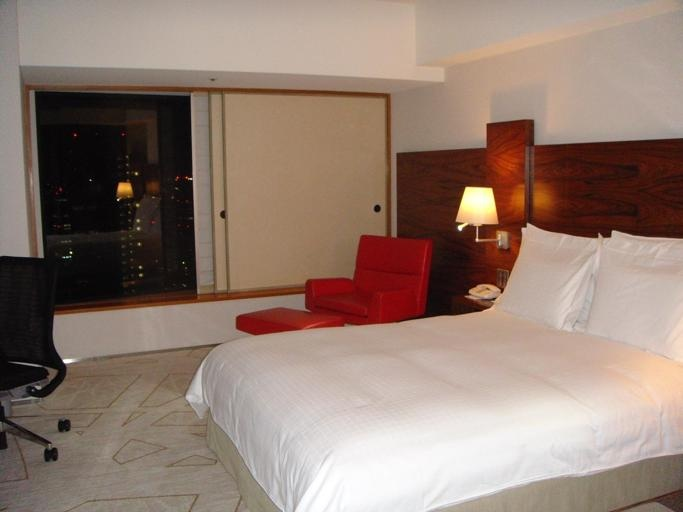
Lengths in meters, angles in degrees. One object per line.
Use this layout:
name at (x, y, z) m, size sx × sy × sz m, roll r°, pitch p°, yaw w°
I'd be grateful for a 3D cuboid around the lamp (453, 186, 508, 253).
lamp at (1.198, -0.363, 4.970) m, size 0.552 × 0.676 × 0.477 m, roll 1°, pitch 0°, yaw -26°

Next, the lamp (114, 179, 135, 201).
lamp at (-2.519, -0.764, 5.984) m, size 0.199 × 0.229 × 0.204 m, roll -2°, pitch 14°, yaw -14°

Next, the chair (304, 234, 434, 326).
chair at (0.321, 0.271, 5.385) m, size 0.907 × 0.916 × 1.280 m, roll -2°, pitch 6°, yaw -40°
